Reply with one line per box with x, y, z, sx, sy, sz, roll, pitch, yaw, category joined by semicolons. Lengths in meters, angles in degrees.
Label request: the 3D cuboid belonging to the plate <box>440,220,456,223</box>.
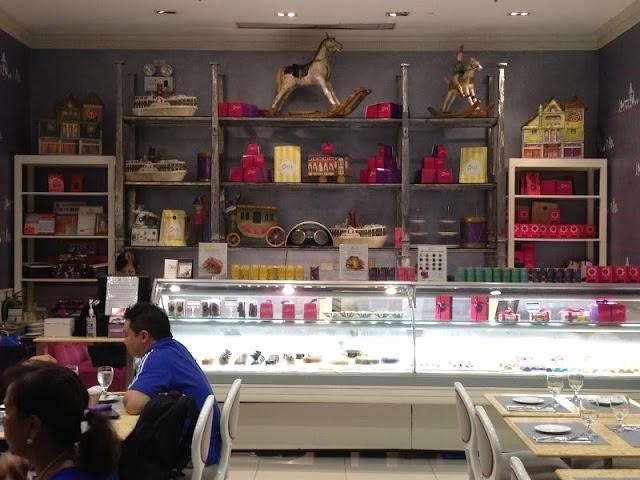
1.315;-0.195;6.842;0.162;0.041;0.236;-1;0;10;plate

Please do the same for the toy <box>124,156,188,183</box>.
-1.665;-0.696;6.632;0.436;0.175;0.277;1;-1;-4;toy

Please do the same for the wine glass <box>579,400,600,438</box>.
1.827;1.205;4.515;0.101;0.229;0.244;-1;0;20;wine glass

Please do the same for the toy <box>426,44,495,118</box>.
1.403;-1.614;6.673;0.569;0.798;0.693;-1;-1;14;toy

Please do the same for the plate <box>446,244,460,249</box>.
1.356;0.063;6.732;0.131;0.042;0.379;-1;0;11;plate

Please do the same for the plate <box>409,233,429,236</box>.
1.013;-0.060;6.879;0.180;0.046;0.252;-1;0;19;plate

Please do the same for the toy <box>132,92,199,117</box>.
-1.579;-1.358;6.643;0.636;0.255;0.164;-1;-1;-3;toy

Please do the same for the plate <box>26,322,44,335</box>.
-2.769;0.857;6.410;0.109;0.065;0.151;1;-4;-15;plate

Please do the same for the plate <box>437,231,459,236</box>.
1.316;-0.073;6.818;0.211;0.048;0.261;-1;0;10;plate

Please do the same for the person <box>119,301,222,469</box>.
-1.056;1.063;4.600;0.653;1.216;0.647;-1;-22;-12;person

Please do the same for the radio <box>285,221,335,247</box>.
-0.116;-0.072;6.670;0.494;0.253;0.299;-1;0;1;radio

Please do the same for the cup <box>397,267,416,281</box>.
0.725;0.289;5.731;0.107;0.159;0.157;0;3;-5;cup
